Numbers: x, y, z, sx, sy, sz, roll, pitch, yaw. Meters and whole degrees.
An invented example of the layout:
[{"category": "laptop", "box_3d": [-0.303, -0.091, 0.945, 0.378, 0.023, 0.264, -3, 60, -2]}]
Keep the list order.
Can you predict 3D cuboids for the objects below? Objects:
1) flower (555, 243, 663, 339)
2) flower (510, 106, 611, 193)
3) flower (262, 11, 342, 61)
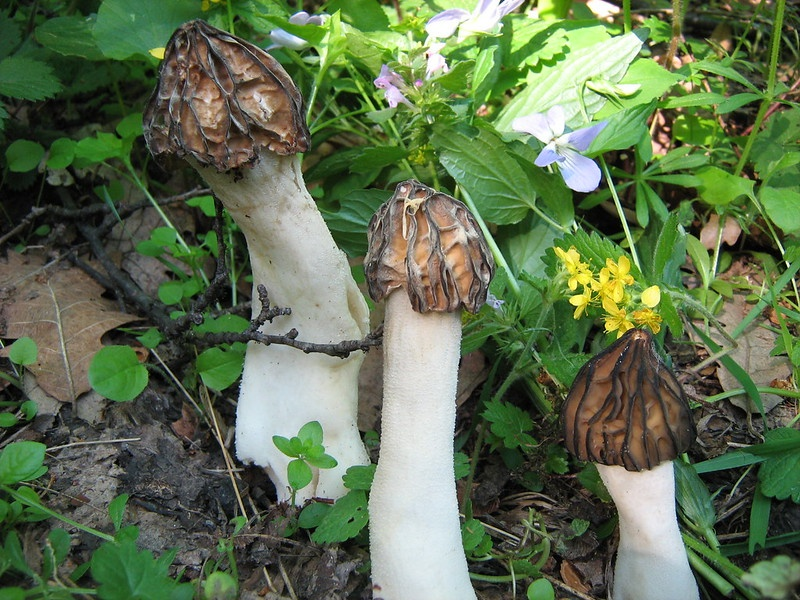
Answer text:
[{"category": "flower", "box_3d": [0.603, -0.012, 2.011, 0.136, 0.211, 0.329, 9, 36, -52]}, {"category": "flower", "box_3d": [0.511, -0.477, 2.274, 0.266, 0.285, 0.128, -41, 25, -1]}, {"category": "flower", "box_3d": [-0.356, -0.891, 2.363, 0.168, 0.067, 0.166, -36, 22, -17]}]
